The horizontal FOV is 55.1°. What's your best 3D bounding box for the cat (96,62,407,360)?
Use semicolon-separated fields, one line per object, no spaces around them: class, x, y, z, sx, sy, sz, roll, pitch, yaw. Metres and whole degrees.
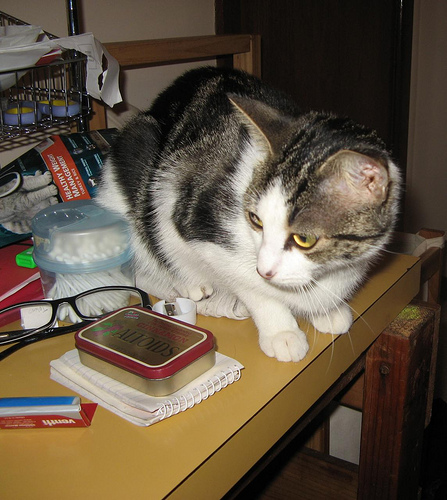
cat;0.014;-0.102;0.638;0.472;0.334;0.339;13;24;30

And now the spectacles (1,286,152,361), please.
spectacles;-0.190;0.078;0.545;0.178;0.051;0.105;-9;22;-22

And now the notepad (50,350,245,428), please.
notepad;-0.088;0.133;0.402;0.189;0.025;0.079;2;21;6

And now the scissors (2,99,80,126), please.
scissors;-0.349;-0.263;0.823;0.140;0.044;0.149;-6;21;-17
